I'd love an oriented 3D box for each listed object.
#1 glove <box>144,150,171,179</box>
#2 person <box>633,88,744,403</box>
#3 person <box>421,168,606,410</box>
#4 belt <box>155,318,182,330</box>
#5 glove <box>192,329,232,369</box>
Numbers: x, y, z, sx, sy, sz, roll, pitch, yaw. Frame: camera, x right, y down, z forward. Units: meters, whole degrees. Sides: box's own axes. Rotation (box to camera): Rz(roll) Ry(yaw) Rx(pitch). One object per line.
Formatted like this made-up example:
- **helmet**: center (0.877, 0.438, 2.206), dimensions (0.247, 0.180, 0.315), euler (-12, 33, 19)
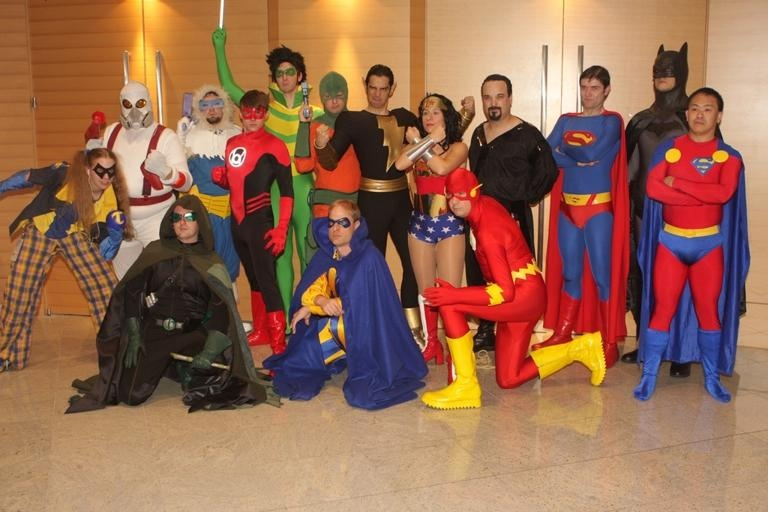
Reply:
- **glove**: center (-1.924, -0.781, 5.880), dimensions (0.191, 0.250, 0.099), euler (-39, 16, 9)
- **person**: center (2.371, -0.087, 5.185), dimensions (0.794, 2.307, 0.712), euler (3, 15, 15)
- **person**: center (0.912, 0.216, 5.191), dimensions (1.368, 1.752, 0.452), euler (-5, 15, -16)
- **belt**: center (-1.656, 0.509, 5.260), dimensions (0.101, 0.056, 0.135), euler (-2, 11, -44)
- **glove**: center (-1.302, 0.708, 5.134), dimensions (0.242, 0.293, 0.118), euler (33, -18, -14)
